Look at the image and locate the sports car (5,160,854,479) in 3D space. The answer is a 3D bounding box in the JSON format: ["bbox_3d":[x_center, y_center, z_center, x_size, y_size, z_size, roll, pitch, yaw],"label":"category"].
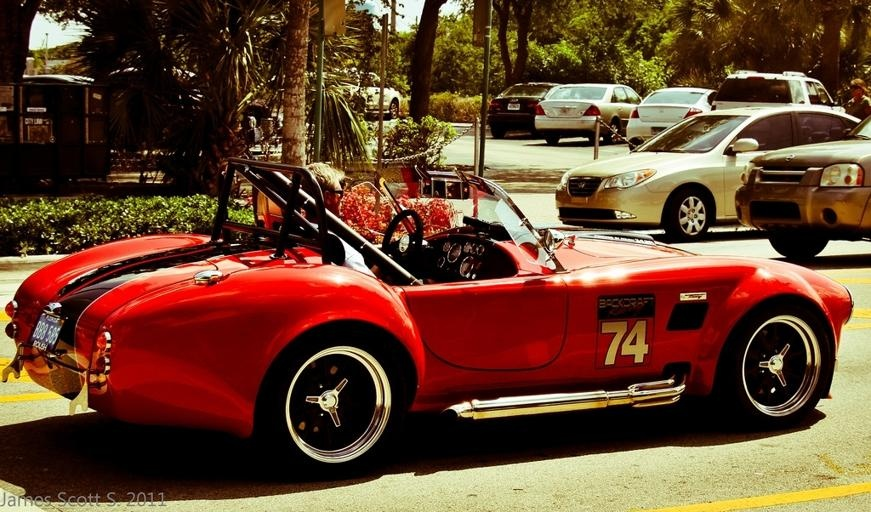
[{"bbox_3d":[0.003,0.520,5.728,5.334,1.635,2.857,-2,4,-18],"label":"sports car"}]

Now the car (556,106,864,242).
[{"bbox_3d":[5.489,-1.590,14.227,5.731,1.915,2.594,-2,1,-25],"label":"car"}]

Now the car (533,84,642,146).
[{"bbox_3d":[6.110,-6.028,29.869,2.658,1.981,6.140,2,10,30],"label":"car"}]
